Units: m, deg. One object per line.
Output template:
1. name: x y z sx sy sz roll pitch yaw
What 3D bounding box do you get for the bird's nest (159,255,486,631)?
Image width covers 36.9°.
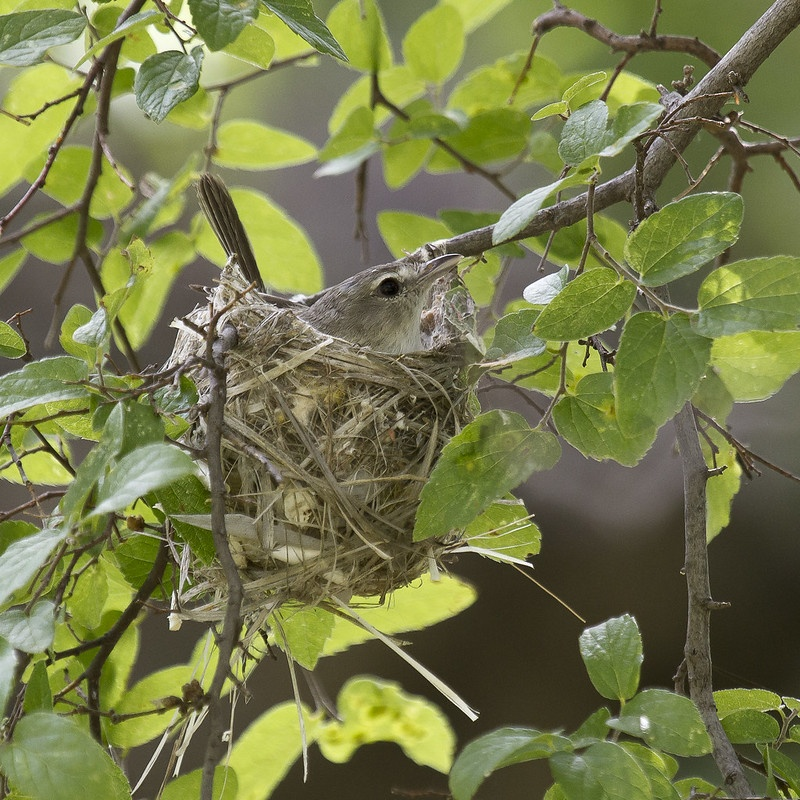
1. bird's nest: -0.126 0.135 2.083 0.535 0.449 0.599 -5 -44 -12
